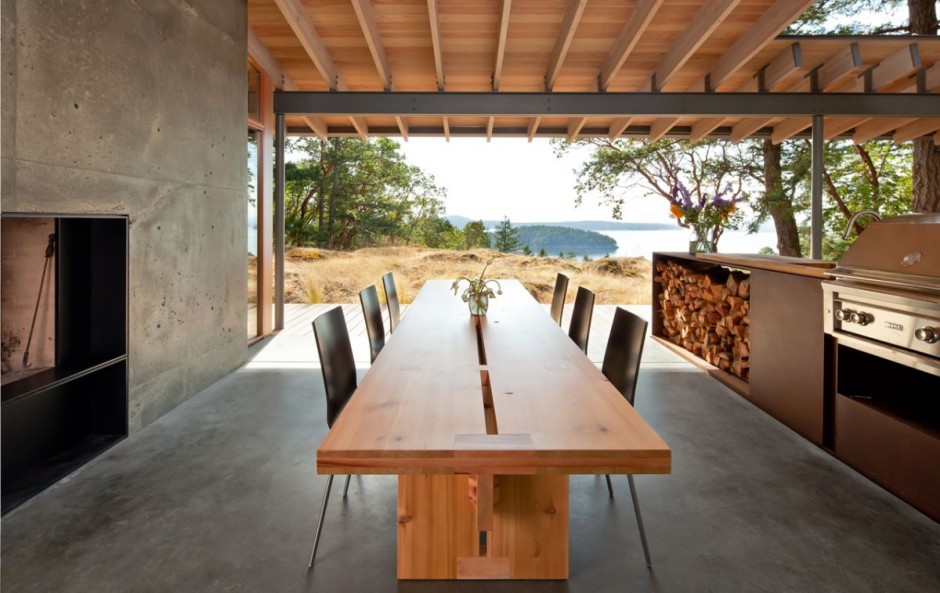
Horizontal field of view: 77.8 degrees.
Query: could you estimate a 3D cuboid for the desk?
[{"bbox_3d":[0.008,0.923,3.434,1.511,1.371,1.765,2,7,-12],"label":"desk"}]
